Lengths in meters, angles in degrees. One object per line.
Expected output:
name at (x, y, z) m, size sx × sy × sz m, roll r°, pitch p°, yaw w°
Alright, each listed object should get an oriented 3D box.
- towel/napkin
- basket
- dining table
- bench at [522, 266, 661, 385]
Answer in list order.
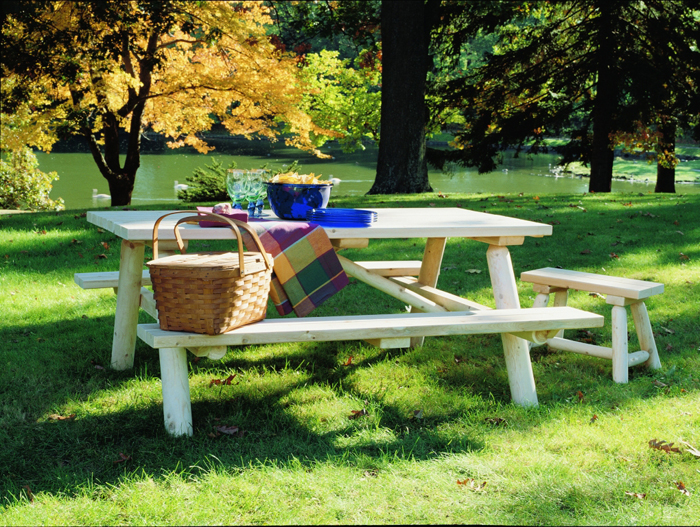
towel/napkin at (-0.434, -0.016, 4.445) m, size 0.554 × 0.621 × 0.633 m, roll -4°, pitch 11°, yaw -33°
basket at (-0.829, 0.040, 3.944) m, size 0.759 × 0.751 × 0.615 m, roll 0°, pitch 8°, yaw -4°
dining table at (0.359, 0.003, 5.176) m, size 2.548 × 0.944 × 2.100 m, roll 0°, pitch 1°, yaw -15°
bench at (1.889, 0.362, 5.214) m, size 0.947 × 0.870 × 0.998 m, roll -6°, pitch 12°, yaw -34°
